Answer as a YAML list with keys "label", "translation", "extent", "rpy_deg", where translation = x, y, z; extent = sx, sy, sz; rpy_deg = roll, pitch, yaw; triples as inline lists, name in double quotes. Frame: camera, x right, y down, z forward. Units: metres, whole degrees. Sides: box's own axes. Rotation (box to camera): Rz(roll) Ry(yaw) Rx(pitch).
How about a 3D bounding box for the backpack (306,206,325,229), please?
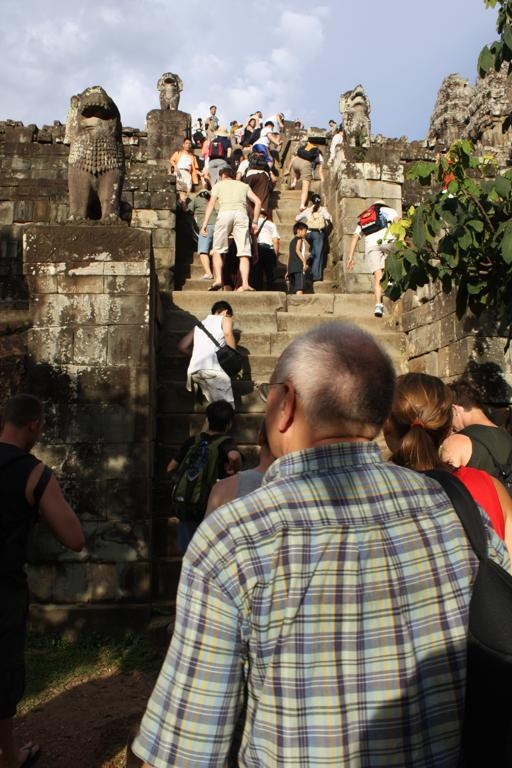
- label: "backpack"
  translation: [0.844, -2.394, 9.623]
  extent: [0.300, 0.325, 0.282]
  rpy_deg: [6, 9, 16]

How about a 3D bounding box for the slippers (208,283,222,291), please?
- label: "slippers"
  translation: [-0.507, -1.206, 8.225]
  extent: [0.071, 0.071, 0.189]
  rpy_deg: [-13, 18, -42]

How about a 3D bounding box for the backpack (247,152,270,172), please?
- label: "backpack"
  translation: [0.042, -3.410, 10.212]
  extent: [0.337, 0.203, 0.468]
  rpy_deg: [6, 15, 6]

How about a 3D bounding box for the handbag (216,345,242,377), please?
- label: "handbag"
  translation: [-0.250, -0.208, 5.920]
  extent: [0.186, 0.273, 0.150]
  rpy_deg: [-20, 13, 31]
